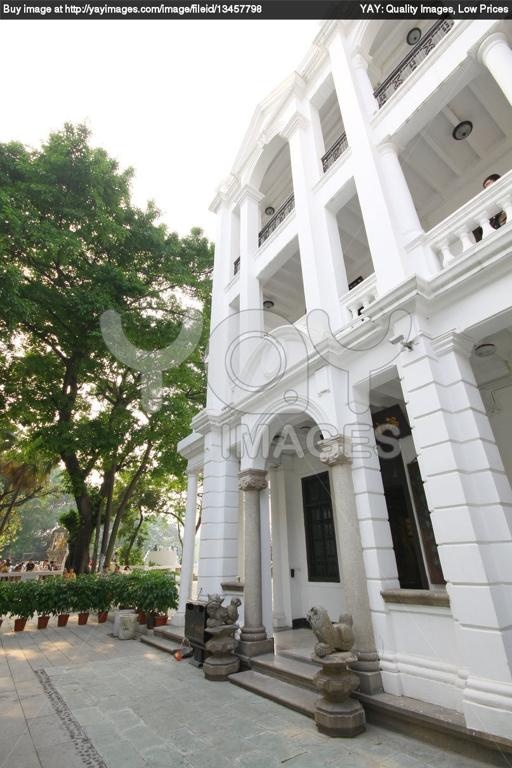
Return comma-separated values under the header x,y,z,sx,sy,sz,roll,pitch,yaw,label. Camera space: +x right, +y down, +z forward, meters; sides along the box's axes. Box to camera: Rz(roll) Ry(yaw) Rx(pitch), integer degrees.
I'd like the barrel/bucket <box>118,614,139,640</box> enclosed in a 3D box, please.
x,y,z,sx,sy,sz,roll,pitch,yaw,label
-2.865,5.466,9.895,0.411,0.511,0.368,5,-24,-16,barrel/bucket

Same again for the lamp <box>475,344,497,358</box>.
x,y,z,sx,sy,sz,roll,pitch,yaw,label
3.337,-0.506,6.414,0.283,0.068,0.294,3,-18,-3,lamp

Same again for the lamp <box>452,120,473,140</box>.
x,y,z,sx,sy,sz,roll,pitch,yaw,label
3.678,-4.531,7.791,0.322,0.091,0.331,0,-6,-20,lamp
